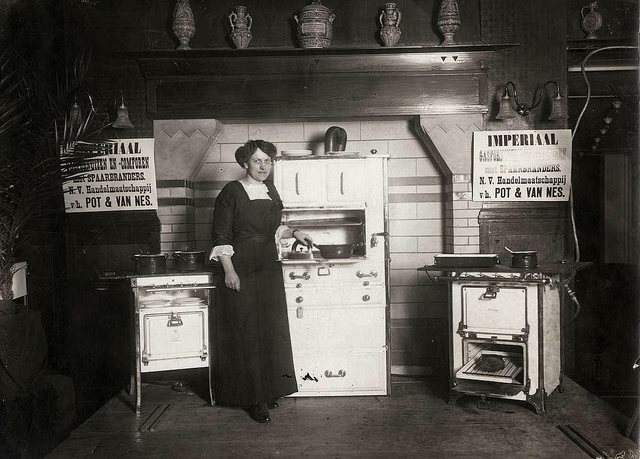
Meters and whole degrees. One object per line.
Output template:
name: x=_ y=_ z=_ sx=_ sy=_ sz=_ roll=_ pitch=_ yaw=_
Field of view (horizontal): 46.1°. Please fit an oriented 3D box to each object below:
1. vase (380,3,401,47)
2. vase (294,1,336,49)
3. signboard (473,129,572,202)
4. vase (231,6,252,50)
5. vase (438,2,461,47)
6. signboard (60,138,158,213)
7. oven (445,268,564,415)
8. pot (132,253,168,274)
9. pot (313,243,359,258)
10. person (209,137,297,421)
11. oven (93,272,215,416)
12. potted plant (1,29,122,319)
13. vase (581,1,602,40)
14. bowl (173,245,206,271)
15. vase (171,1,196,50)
vase: x=0.578 y=-1.664 z=6.143 sx=0.176 sy=0.359 sz=0.073 roll=-3 pitch=3 yaw=-7
vase: x=-0.049 y=-1.601 z=6.123 sx=0.453 sy=0.440 sz=0.321 roll=0 pitch=8 yaw=-2
signboard: x=1.661 y=-0.523 z=6.056 sx=0.606 sy=0.444 sz=0.023 roll=0 pitch=2 yaw=9
vase: x=-0.635 y=-1.637 z=6.132 sx=0.159 sy=0.326 sz=0.071 roll=-3 pitch=3 yaw=-10
vase: x=1.050 y=-1.648 z=6.100 sx=0.169 sy=0.363 sz=0.085 roll=-2 pitch=3 yaw=10
signboard: x=-1.699 y=-0.435 z=5.938 sx=0.595 sy=0.443 sz=0.012 roll=-4 pitch=7 yaw=-25
oven: x=1.477 y=0.845 z=6.085 sx=0.867 sy=1.055 sz=0.916 roll=-1 pitch=-3 yaw=41
pot: x=-1.345 y=0.274 z=5.906 sx=0.204 sy=0.130 sz=0.165 roll=0 pitch=-4 yaw=-6
pot: x=0.126 y=0.176 z=6.046 sx=0.267 sy=0.109 sz=0.061 roll=-3 pitch=3 yaw=-6
person: x=-0.537 y=0.365 z=5.860 sx=0.645 sy=2.109 sz=0.365 roll=-3 pitch=3 yaw=-10
oven: x=-1.264 y=0.879 z=6.023 sx=0.873 sy=1.095 sz=0.450 roll=-3 pitch=3 yaw=-8
potted plant: x=-1.959 y=-0.431 z=5.583 sx=0.370 sy=2.018 sz=1.013 roll=-1 pitch=3 yaw=31
vase: x=2.179 y=-1.661 z=6.015 sx=0.128 sy=0.272 sz=0.101 roll=0 pitch=4 yaw=44
bowl: x=-1.091 y=0.232 z=6.160 sx=0.232 sy=0.175 sz=0.432 roll=-3 pitch=4 yaw=-19
vase: x=-1.112 y=-1.646 z=6.102 sx=0.173 sy=0.378 sz=0.112 roll=-3 pitch=3 yaw=-22
